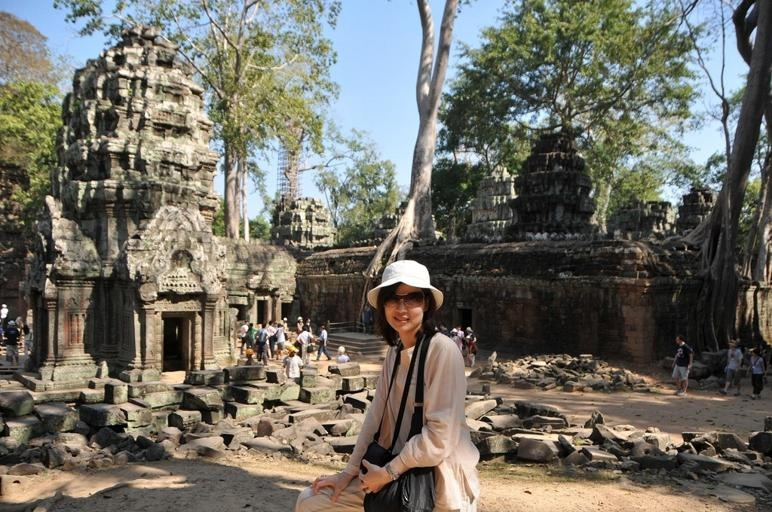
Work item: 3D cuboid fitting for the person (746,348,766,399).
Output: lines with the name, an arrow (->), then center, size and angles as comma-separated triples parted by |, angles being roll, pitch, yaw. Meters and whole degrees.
person -> 11.561, 3.640, 23.071 | 0.408, 1.522, 1.036 | 4, 5, 25

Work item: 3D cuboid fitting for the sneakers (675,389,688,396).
sneakers -> 9.163, 4.275, 22.928 | 0.122, 0.234, 0.353 | -1, 3, -27

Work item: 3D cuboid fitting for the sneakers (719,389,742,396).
sneakers -> 10.876, 4.358, 23.335 | 0.710, 0.291, 0.212 | -6, -9, 5

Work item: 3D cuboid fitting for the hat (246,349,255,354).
hat -> -4.531, 3.174, 24.360 | 0.199, 0.181, 0.196 | 3, -2, 13
